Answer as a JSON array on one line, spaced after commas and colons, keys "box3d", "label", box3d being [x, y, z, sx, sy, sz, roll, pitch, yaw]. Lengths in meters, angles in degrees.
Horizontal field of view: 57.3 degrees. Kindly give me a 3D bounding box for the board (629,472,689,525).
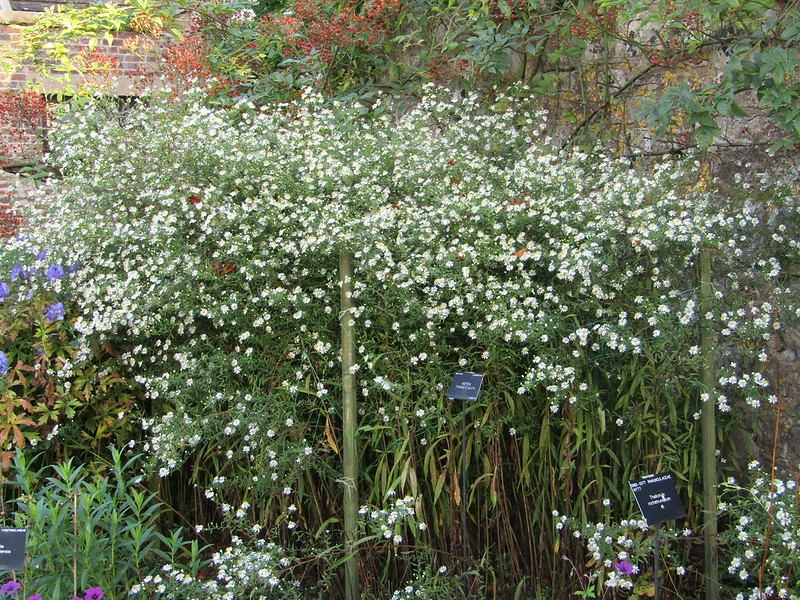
[{"box3d": [1.182, 0.902, 3.353, 0.225, 0.242, 0.061, -15, -17, -7], "label": "board"}]
